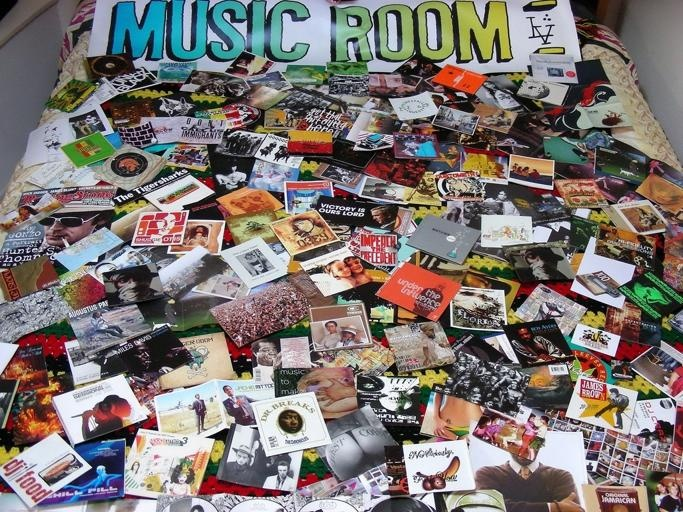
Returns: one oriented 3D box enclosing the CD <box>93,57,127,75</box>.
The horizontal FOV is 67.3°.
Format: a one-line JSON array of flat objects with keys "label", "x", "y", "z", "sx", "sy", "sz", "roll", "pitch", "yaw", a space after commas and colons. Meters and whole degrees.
[{"label": "CD", "x": -1.327, "y": -1.097, "z": 2.993, "sx": 0.188, "sy": 0.033, "sz": 0.135, "roll": -11, "pitch": 59, "yaw": -13}]
